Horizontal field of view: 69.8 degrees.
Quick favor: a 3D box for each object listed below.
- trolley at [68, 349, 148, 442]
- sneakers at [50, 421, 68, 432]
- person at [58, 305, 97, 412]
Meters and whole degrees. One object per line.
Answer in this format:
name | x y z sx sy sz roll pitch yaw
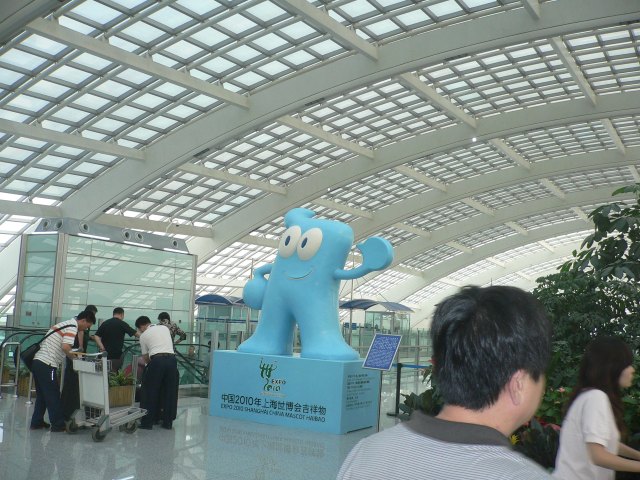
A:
trolley | -4.020 2.882 8.766 1.212 1.342 1.378 -7 -10 26
sneakers | -4.934 3.479 8.640 0.379 0.198 0.152 2 -6 -3
person | -4.757 2.318 8.958 0.577 2.008 0.653 14 13 20
